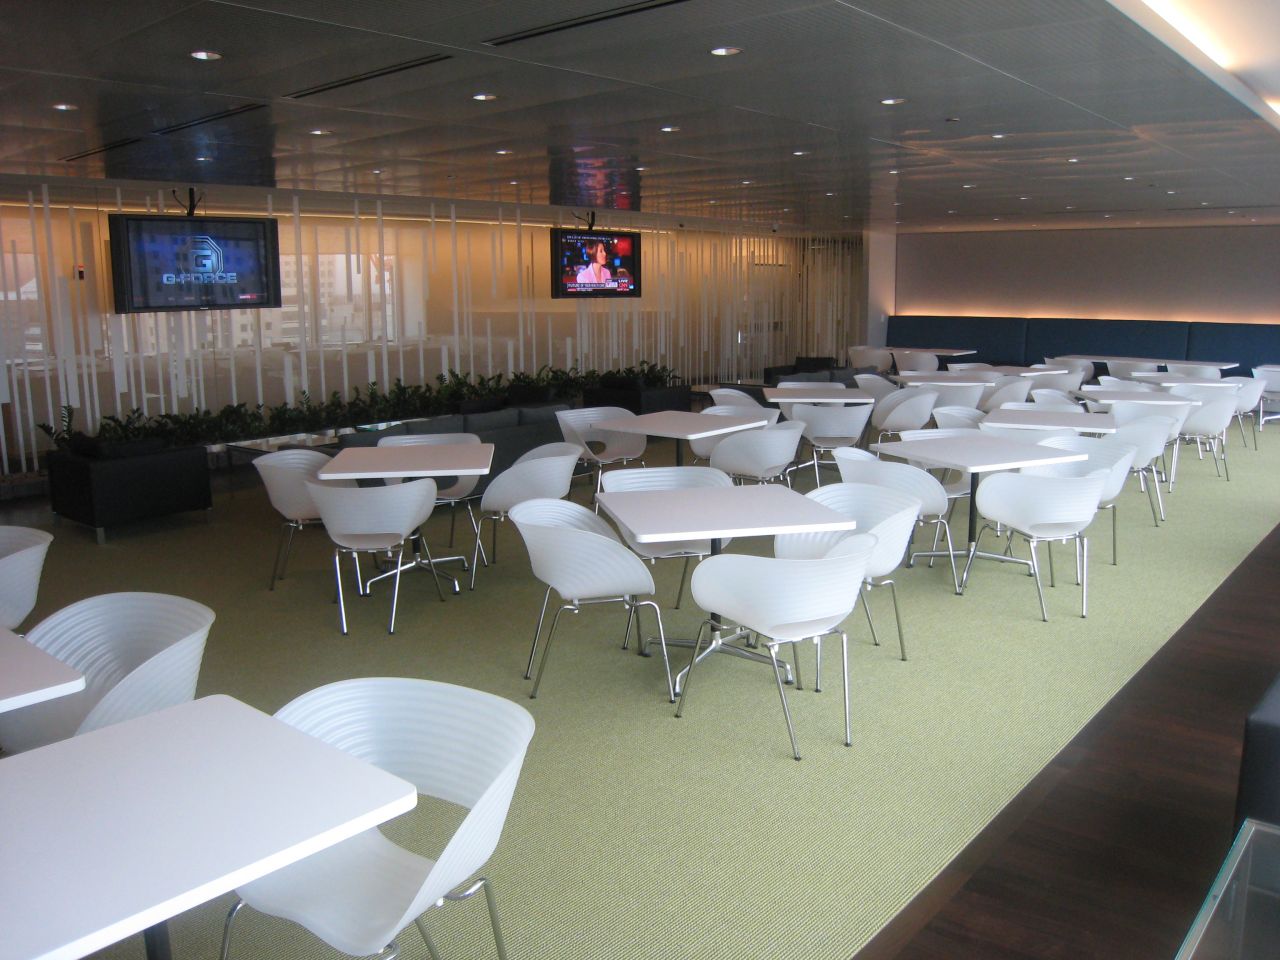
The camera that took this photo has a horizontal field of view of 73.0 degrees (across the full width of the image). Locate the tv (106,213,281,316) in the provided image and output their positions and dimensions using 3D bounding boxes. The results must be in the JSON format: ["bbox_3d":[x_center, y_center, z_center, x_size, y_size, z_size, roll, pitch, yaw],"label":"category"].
[{"bbox_3d":[-4.162,-2.017,8.025,0.187,0.735,1.351,4,8,43],"label":"tv"}]
